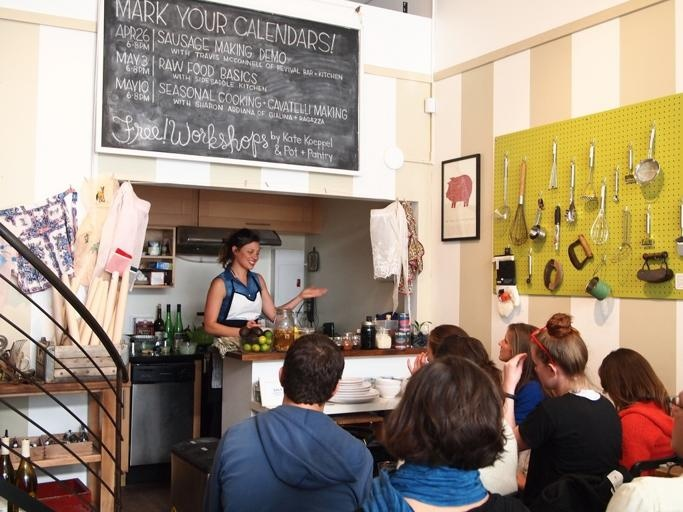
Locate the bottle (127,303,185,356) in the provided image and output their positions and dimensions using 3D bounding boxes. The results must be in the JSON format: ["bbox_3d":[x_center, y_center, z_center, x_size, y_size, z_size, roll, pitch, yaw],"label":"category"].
[{"bbox_3d":[-1.863,0.732,5.511,0.381,0.494,0.146,1,-3,-5],"label":"bottle"}]

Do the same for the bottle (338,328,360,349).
[{"bbox_3d":[0.065,0.600,3.981,0.125,0.137,0.100,1,-1,0],"label":"bottle"}]

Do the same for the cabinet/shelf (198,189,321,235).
[{"bbox_3d":[-0.907,-0.443,6.315,1.365,0.514,0.449,4,-2,-2],"label":"cabinet/shelf"}]

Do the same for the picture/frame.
[{"bbox_3d":[0.915,-0.436,4.272,0.063,0.651,0.406,4,-6,-34],"label":"picture/frame"}]

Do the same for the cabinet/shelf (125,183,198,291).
[{"bbox_3d":[-1.660,-0.211,5.093,0.278,0.917,0.929,0,-5,19],"label":"cabinet/shelf"}]

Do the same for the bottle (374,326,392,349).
[{"bbox_3d":[0.298,0.602,4.043,0.148,0.159,0.087,1,0,-30],"label":"bottle"}]

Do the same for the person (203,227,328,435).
[{"bbox_3d":[-0.808,0.256,4.400,0.912,1.874,0.823,-3,1,34],"label":"person"}]

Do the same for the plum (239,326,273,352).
[{"bbox_3d":[-0.560,0.529,3.597,0.154,0.092,0.158,9,-10,-43],"label":"plum"}]

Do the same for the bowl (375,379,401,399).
[{"bbox_3d":[0.295,0.852,3.590,0.127,0.097,0.119,-2,-8,0],"label":"bowl"}]

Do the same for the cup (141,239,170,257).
[{"bbox_3d":[-1.893,-0.080,5.622,0.292,0.220,0.138,4,-5,-32],"label":"cup"}]

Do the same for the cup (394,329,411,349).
[{"bbox_3d":[0.439,0.614,4.117,0.135,0.141,0.085,-1,-3,19],"label":"cup"}]

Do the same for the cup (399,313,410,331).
[{"bbox_3d":[0.462,0.487,4.103,0.095,0.177,0.103,-2,-5,0],"label":"cup"}]

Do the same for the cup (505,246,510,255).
[{"bbox_3d":[1.156,-0.036,3.871,0.037,0.060,0.040,0,0,0],"label":"cup"}]

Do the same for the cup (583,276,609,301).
[{"bbox_3d":[1.495,0.206,3.326,0.133,0.133,0.124,26,-9,5],"label":"cup"}]

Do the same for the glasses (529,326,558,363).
[{"bbox_3d":[0.994,0.445,2.760,0.040,0.135,0.125,-15,-10,30],"label":"glasses"}]
